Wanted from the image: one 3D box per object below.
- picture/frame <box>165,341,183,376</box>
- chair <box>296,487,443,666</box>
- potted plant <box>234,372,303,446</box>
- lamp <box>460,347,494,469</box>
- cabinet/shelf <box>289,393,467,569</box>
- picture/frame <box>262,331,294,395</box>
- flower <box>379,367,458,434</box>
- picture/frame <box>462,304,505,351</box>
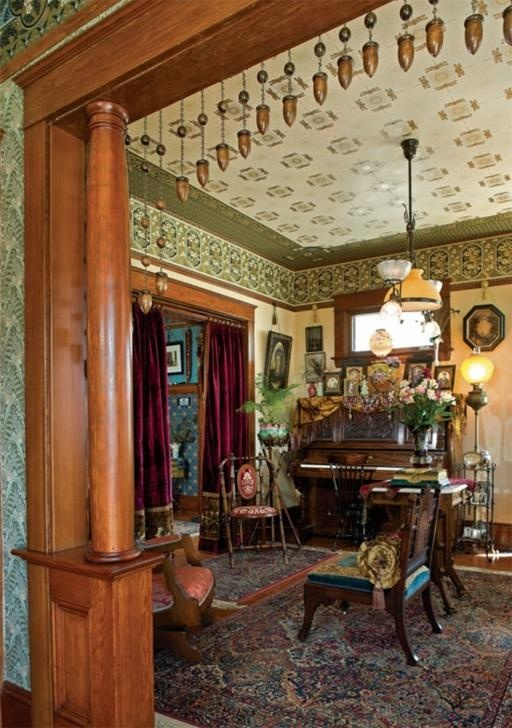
[{"bbox_3d":[-1.178,-0.072,8.503,0.035,0.535,0.529,4,-4,-43],"label":"picture/frame"},{"bbox_3d":[0.714,1.194,3.550,0.809,0.901,0.736,1,-3,17],"label":"chair"},{"bbox_3d":[0.225,0.553,6.675,0.796,0.844,0.709,-2,-10,21],"label":"potted plant"},{"bbox_3d":[2.366,0.445,6.164,0.324,1.263,0.610,-2,-6,22],"label":"lamp"},{"bbox_3d":[1.185,1.107,5.487,1.580,1.492,0.523,-4,-16,33],"label":"cabinet/shelf"},{"bbox_3d":[0.264,-0.020,7.277,0.070,0.932,0.791,1,-4,27],"label":"picture/frame"},{"bbox_3d":[1.419,0.306,4.794,0.592,0.559,0.534,-1,5,-19],"label":"flower"},{"bbox_3d":[2.528,-0.395,6.393,0.511,0.627,0.085,-1,-8,45],"label":"picture/frame"}]
